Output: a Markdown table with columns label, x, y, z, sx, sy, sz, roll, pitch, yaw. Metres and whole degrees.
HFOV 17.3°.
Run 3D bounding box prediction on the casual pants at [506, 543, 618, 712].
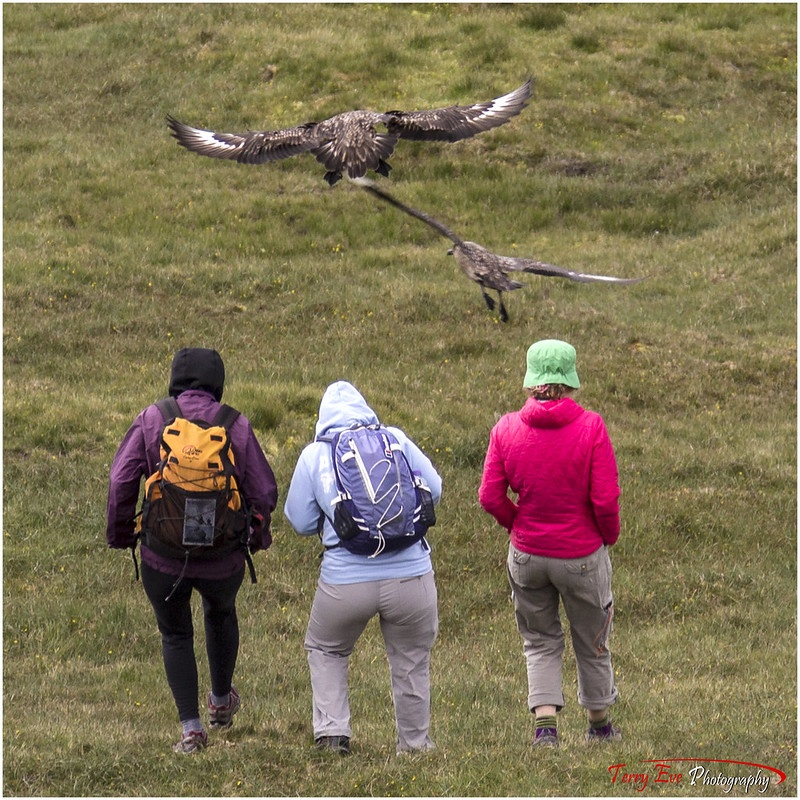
| label | x | y | z | sx | sy | sz | roll | pitch | yaw |
| --- | --- | --- | --- | --- | --- | --- | --- | --- | --- |
| casual pants | 2.438 | 3.202 | 38.770 | 1.378 | 3.484 | 1.217 | -5 | 25 | 2 |

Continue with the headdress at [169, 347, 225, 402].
| label | x | y | z | sx | sy | sz | roll | pitch | yaw |
| --- | --- | --- | --- | --- | --- | --- | --- | --- | --- |
| headdress | -3.010 | -0.360 | 38.405 | 0.686 | 0.819 | 0.677 | 2 | 5 | -18 |

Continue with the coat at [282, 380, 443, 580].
| label | x | y | z | sx | sy | sz | roll | pitch | yaw |
| --- | --- | --- | --- | --- | --- | --- | --- | --- | --- |
| coat | -0.617 | 1.278 | 38.542 | 2.036 | 3.074 | 1.511 | -6 | -17 | -12 |

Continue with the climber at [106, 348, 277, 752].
| label | x | y | z | sx | sy | sz | roll | pitch | yaw |
| --- | --- | --- | --- | --- | --- | --- | --- | --- | --- |
| climber | -3.020 | 2.316 | 38.297 | 2.251 | 5.548 | 0.711 | -3 | 9 | -8 |
